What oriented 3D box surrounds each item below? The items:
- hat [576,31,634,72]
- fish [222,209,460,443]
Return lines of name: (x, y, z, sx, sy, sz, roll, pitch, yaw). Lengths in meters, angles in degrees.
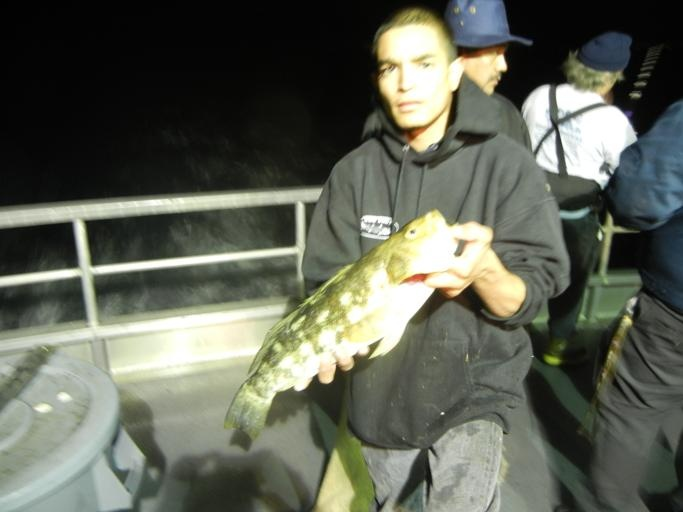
hat: (2.058, -1.618, 4.461, 0.485, 0.182, 0.381, -21, 42, -31)
fish: (-0.029, 0.297, 2.785, 1.051, 1.134, 0.400, -1, 28, -5)
